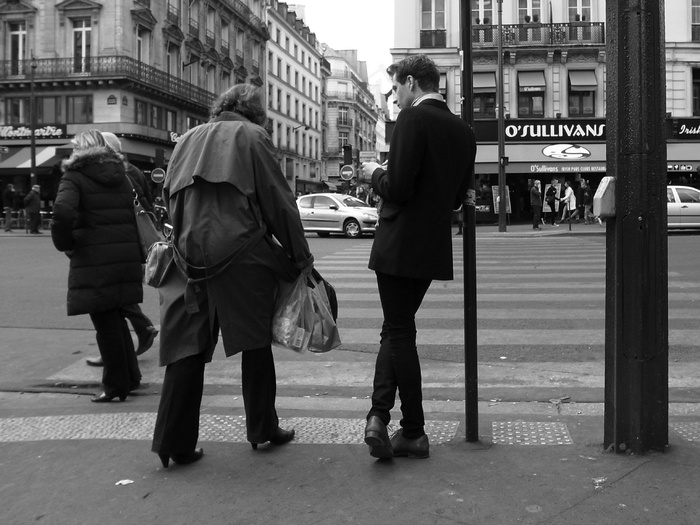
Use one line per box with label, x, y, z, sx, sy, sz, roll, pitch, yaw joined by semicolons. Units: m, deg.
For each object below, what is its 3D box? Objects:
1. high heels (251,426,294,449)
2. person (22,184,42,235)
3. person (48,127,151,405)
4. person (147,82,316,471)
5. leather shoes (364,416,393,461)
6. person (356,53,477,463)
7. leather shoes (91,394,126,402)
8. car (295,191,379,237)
high heels;-0.594;1.295;8.155;0.358;0.141;0.120;-10;13;-35
person;-10.070;-1.644;34.439;0.437;1.492;1.515;-4;10;-17
person;-2.142;0.019;9.290;0.673;2.264;0.620;-1;9;-3
person;-0.891;0.068;7.876;1.153;2.683;0.674;-2;10;-8
leather shoes;0.239;1.269;7.744;0.158;0.168;0.351;-4;-36;15
person;0.433;-0.048;7.840;0.640;2.871;0.948;4;11;28
leather shoes;-2.039;1.153;9.202;0.213;0.081;0.107;6;-2;-1
car;-0.298;-1.365;30.538;2.309;0.902;1.249;0;4;27
